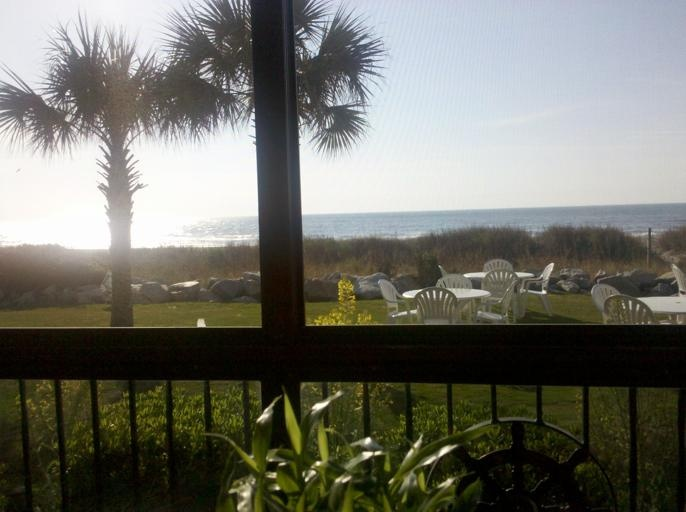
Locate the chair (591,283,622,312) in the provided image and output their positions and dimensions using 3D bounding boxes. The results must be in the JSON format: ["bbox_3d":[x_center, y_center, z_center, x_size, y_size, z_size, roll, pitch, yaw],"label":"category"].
[{"bbox_3d":[1.125,0.161,2.841,0.099,0.150,0.126,0,6,29],"label":"chair"}]
